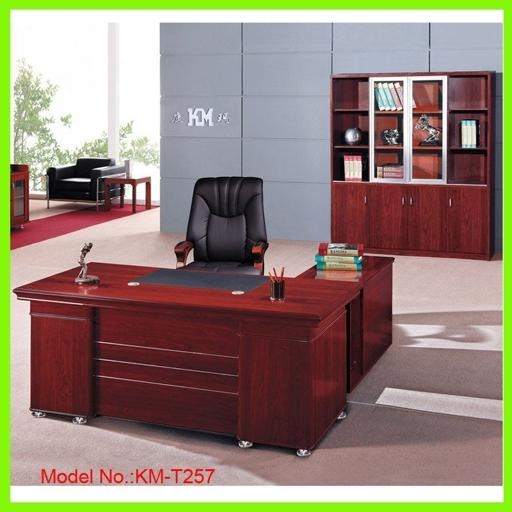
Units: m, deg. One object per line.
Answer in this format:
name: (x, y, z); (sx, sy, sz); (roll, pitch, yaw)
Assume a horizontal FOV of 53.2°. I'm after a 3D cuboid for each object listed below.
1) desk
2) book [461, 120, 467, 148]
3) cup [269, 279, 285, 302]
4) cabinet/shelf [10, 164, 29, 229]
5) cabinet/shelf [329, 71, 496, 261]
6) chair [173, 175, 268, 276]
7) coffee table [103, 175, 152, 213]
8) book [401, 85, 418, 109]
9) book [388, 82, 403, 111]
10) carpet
desk: (-0.283, 0.510, 2.890); (1.343, 0.594, 1.174); (3, 7, 19)
book: (2.787, -1.635, 6.844); (0.057, 0.269, 0.254); (1, 10, 17)
cup: (0.114, 0.172, 2.642); (0.074, 0.112, 0.079); (1, 11, 0)
cabinet/shelf: (-4.133, -1.033, 8.956); (0.308, 1.104, 0.626); (-3, 11, -17)
cabinet/shelf: (2.239, -1.223, 6.979); (2.329, 2.916, 0.707); (2, 5, 20)
chair: (-0.297, -0.085, 4.459); (0.754, 1.229, 1.030); (0, 4, -8)
coffee table: (-2.625, -1.427, 10.818); (0.788, 0.846, 0.874); (4, 12, 17)
book: (2.086, -2.177, 6.957); (0.226, 0.297, 0.065); (2, 11, 7)
book: (1.922, -2.192, 7.017); (0.202, 0.357, 0.047); (6, 12, 25)
carpet: (-3.337, -0.630, 9.654); (2.557, 0.033, 0.722); (-18, 34, -35)
